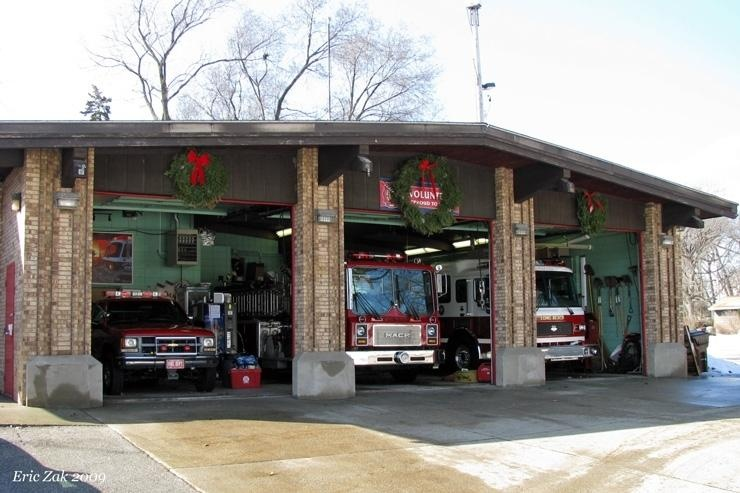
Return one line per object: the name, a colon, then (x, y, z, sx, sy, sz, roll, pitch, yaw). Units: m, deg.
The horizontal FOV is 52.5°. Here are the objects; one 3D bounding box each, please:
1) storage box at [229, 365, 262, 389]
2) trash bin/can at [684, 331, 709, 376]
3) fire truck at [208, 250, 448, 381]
storage box: (-3.320, 3.510, 19.973, 0.683, 0.465, 0.483, 1, -5, -23)
trash bin/can: (10.581, 3.443, 24.902, 1.055, 1.473, 1.455, -5, -7, 23)
fire truck: (-1.321, 2.577, 24.159, 3.521, 3.904, 9.096, 4, -8, -28)
